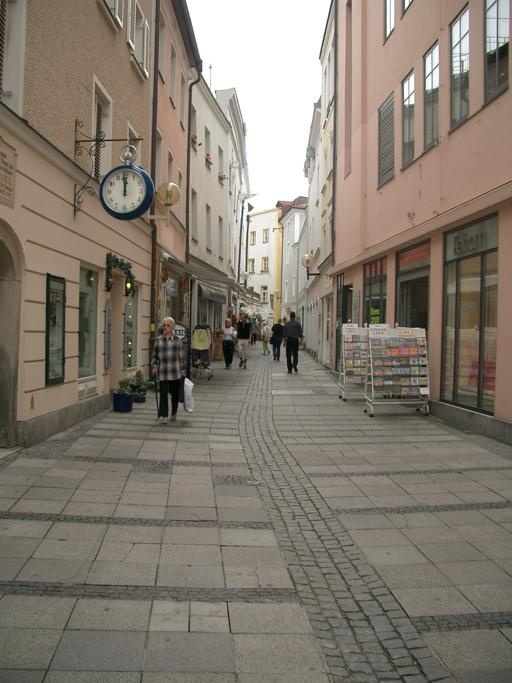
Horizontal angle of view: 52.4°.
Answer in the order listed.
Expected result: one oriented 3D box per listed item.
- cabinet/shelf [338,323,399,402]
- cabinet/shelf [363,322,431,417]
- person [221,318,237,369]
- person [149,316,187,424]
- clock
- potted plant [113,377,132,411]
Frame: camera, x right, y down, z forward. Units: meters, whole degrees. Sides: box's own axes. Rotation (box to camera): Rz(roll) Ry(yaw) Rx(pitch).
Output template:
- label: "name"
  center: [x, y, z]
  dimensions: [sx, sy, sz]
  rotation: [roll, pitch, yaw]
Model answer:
- label: "cabinet/shelf"
  center: [2.409, 0.441, 11.114]
  dimensions: [1.191, 1.952, 0.513]
  rotation: [1, -3, -4]
- label: "cabinet/shelf"
  center: [2.898, 0.357, 10.532]
  dimensions: [1.081, 0.766, 2.003]
  rotation: [0, -47, 21]
- label: "person"
  center: [-1.083, 0.071, 20.479]
  dimensions: [0.463, 2.061, 0.543]
  rotation: [3, 16, 5]
- label: "person"
  center: [-1.476, 0.486, 8.728]
  dimensions: [0.562, 1.740, 0.445]
  rotation: [-1, 0, -21]
- label: "clock"
  center: [-2.069, -2.473, 8.312]
  dimensions: [0.744, 1.477, 0.313]
  rotation: [-5, -22, -3]
- label: "potted plant"
  center: [-2.506, 1.016, 9.742]
  dimensions: [0.327, 0.577, 0.430]
  rotation: [-1, 0, -19]
